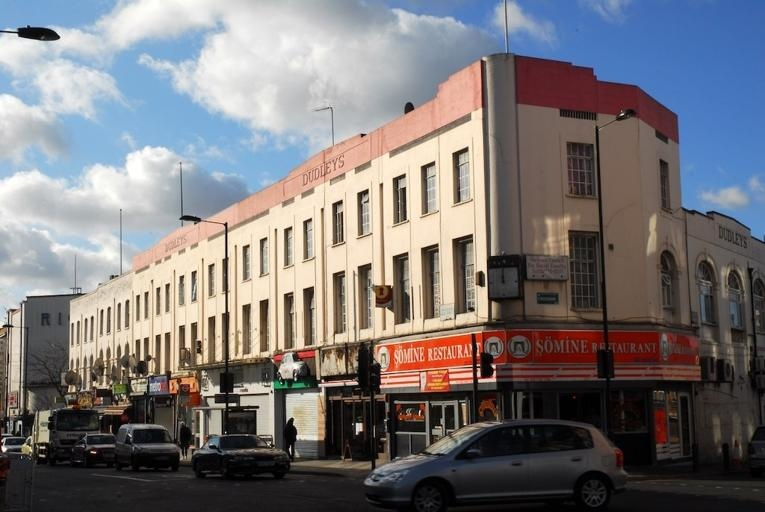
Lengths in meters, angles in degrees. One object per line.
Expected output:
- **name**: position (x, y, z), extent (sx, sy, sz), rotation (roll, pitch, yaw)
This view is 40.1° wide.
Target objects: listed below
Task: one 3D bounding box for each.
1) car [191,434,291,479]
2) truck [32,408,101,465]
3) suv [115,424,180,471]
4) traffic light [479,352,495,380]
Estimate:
- **car**: position (-6.326, 8.823, 45.868), extent (2.240, 1.754, 5.276), rotation (5, -9, -36)
- **truck**: position (-19.509, 10.927, 63.323), extent (2.571, 3.221, 6.856), rotation (4, -9, -35)
- **suv**: position (-11.911, 9.730, 52.734), extent (3.054, 2.398, 5.573), rotation (2, -12, -12)
- **traffic light**: position (4.241, 4.510, 43.260), extent (0.529, 1.109, 1.157), rotation (-2, -18, 2)
